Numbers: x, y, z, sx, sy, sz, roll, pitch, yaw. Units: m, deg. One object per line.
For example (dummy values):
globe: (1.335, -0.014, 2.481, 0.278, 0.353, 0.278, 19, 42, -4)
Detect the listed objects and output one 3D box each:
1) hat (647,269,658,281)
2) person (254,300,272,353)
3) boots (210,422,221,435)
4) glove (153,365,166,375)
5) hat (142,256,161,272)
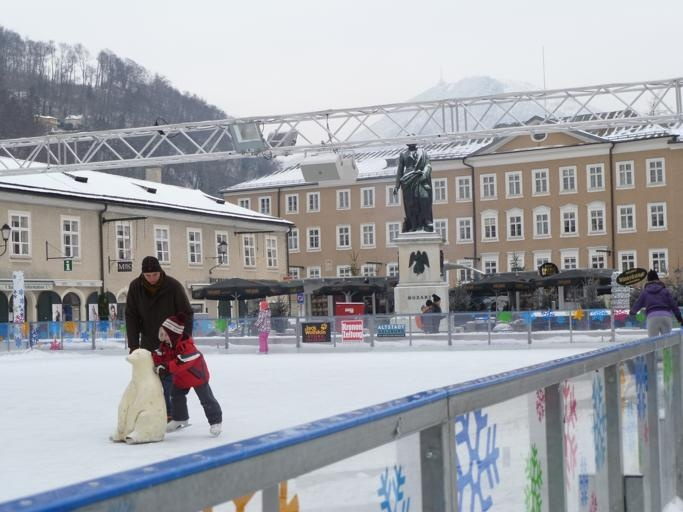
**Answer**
hat: (5.918, 0.366, 22.250, 0.208, 0.250, 0.243, -1, -12, -2)
person: (-2.261, 2.143, 35.183, 0.384, 1.560, 1.106, -2, -3, -3)
boots: (-1.858, 2.610, 17.616, 0.164, 0.151, 0.140, -3, 5, -14)
glove: (-2.634, 1.670, 17.245, 0.182, 0.129, 0.079, -2, -3, -7)
hat: (-2.836, 0.133, 17.695, 0.289, 0.250, 0.326, -2, -3, -8)
